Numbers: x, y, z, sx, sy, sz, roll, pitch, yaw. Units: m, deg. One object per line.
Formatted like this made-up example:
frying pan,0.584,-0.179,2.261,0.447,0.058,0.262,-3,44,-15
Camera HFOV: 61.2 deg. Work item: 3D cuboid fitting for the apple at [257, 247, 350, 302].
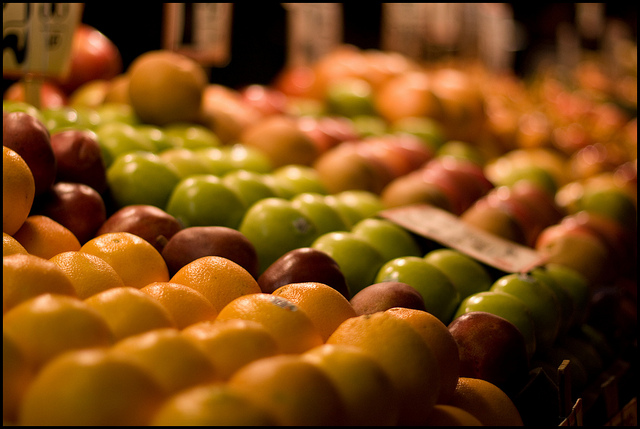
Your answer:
apple,-0.041,0.214,1.340,0.178,0.173,0.183,-11,-21,8

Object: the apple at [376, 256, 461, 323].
apple,0.271,0.199,1.515,0.176,0.166,0.176,-34,-11,-3

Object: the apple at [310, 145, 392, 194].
apple,0.124,-0.187,2.078,0.225,0.134,0.200,0,9,0

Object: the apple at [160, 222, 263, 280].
apple,-0.276,0.082,1.381,0.164,0.164,0.163,-1,-7,-7

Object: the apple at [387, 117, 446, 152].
apple,0.472,-0.424,2.614,0.224,0.134,0.194,10,25,13

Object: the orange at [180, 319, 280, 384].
orange,-0.130,0.197,0.836,0.111,0.079,0.101,1,4,-43

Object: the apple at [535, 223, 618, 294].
apple,0.858,0.122,1.926,0.330,0.193,0.262,8,-3,-31

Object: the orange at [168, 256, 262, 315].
orange,-0.209,0.159,1.075,0.126,0.129,0.124,3,-11,-8

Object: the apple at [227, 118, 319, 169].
apple,-0.157,-0.272,2.204,0.294,0.178,0.268,26,22,-2

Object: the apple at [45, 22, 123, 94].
apple,-1.004,-0.679,2.379,0.184,0.284,0.278,7,18,6

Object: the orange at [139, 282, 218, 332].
orange,-0.239,0.157,0.949,0.092,0.094,0.087,7,-17,-6

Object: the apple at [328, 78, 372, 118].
apple,0.156,-0.594,2.754,0.217,0.172,0.156,3,18,-7

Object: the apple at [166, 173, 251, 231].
apple,-0.315,-0.038,1.627,0.175,0.228,0.180,4,6,20

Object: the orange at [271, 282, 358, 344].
orange,-0.018,0.162,1.073,0.120,0.117,0.110,-33,-2,-37

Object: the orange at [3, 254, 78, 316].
orange,-0.443,0.104,0.891,0.087,0.110,0.094,-22,-24,14

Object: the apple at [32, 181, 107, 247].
apple,-0.623,-0.006,1.430,0.122,0.145,0.120,5,-19,-37

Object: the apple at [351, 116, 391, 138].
apple,0.241,-0.427,2.605,0.155,0.081,0.160,18,17,7

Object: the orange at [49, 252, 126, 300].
orange,-0.421,0.108,0.983,0.097,0.098,0.093,2,-12,-21

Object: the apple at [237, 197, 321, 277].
apple,-0.125,0.065,1.642,0.197,0.257,0.208,3,23,19

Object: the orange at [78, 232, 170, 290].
orange,-0.382,0.116,1.124,0.132,0.124,0.125,3,-11,-26

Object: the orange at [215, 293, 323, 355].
orange,-0.075,0.179,0.944,0.109,0.089,0.108,7,-9,2

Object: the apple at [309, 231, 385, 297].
apple,0.078,0.106,1.552,0.171,0.174,0.182,-33,5,0
